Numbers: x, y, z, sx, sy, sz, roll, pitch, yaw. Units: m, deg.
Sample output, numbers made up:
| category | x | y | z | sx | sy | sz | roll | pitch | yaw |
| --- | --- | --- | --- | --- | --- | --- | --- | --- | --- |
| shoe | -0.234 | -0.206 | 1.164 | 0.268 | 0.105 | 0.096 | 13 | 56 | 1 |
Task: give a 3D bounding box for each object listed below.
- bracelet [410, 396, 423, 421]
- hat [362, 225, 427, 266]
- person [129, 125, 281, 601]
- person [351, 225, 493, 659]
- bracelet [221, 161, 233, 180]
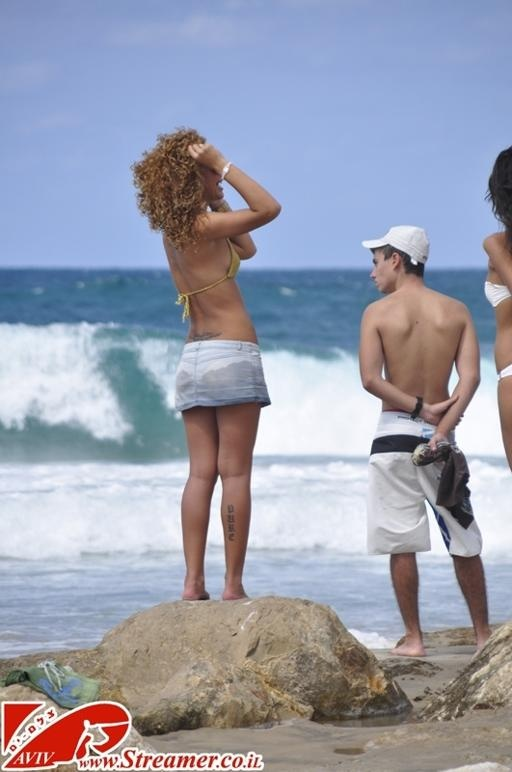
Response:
| category | x | y | z | sx | sy | sz | roll | pitch | yaw |
| --- | --- | --- | --- | --- | --- | --- | --- | --- | --- |
| bracelet | 0.813 | 0.113 | 6.730 | 0.063 | 0.091 | 0.095 | 2 | 5 | 12 |
| hat | 0.724 | -0.736 | 7.016 | 0.323 | 0.149 | 0.198 | 8 | 4 | 17 |
| person | -0.175 | -0.116 | 6.592 | 0.696 | 2.293 | 0.596 | -4 | 7 | -4 |
| person | 0.854 | 0.316 | 6.824 | 0.614 | 2.248 | 0.626 | -2 | 7 | 14 |
| bracelet | -0.145 | -1.052 | 6.564 | 0.053 | 0.088 | 0.104 | -4 | 6 | -1 |
